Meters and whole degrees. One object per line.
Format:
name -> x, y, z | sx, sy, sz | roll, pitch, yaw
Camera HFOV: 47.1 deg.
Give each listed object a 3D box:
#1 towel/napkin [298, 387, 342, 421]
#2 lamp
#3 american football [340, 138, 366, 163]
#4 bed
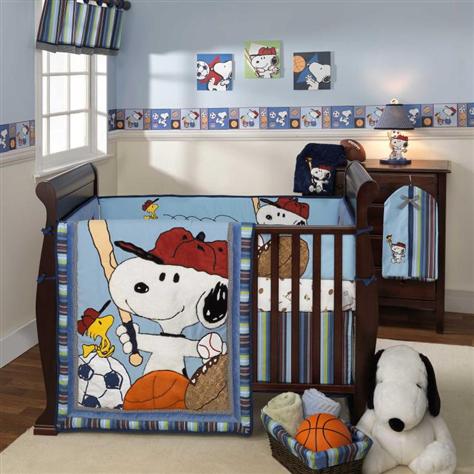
towel/napkin -> 0.305, 0.625, 1.980 | 0.118, 0.117, 0.096 | 25, -16, -7
lamp -> 0.970, -0.647, 3.357 | 0.232, 0.400, 0.231 | 5, 10, 44
american football -> 0.729, -0.533, 3.442 | 0.180, 0.114, 0.145 | 37, 20, 13
bed -> -0.065, 0.258, 2.365 | 1.288, 0.953, 0.866 | 2, 0, 6
